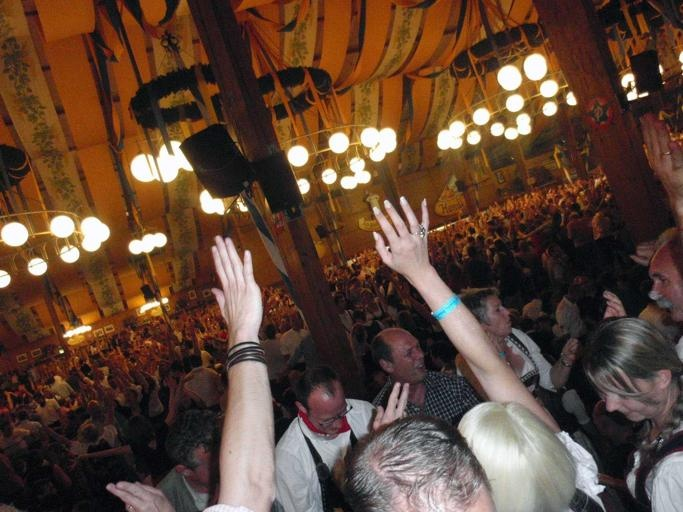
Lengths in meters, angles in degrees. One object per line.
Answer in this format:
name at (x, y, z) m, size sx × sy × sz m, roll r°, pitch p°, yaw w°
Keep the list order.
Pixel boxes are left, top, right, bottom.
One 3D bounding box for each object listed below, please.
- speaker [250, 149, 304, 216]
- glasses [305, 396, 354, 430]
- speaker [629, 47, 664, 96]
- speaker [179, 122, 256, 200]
speaker at (-0.511, -0.589, 3.742) m, size 0.333 × 0.531 × 0.129 m, roll -22°, pitch 2°, yaw 4°
glasses at (-0.082, 1.030, 2.841) m, size 0.184 × 0.134 × 0.250 m, roll -27°, pitch 28°, yaw -18°
speaker at (4.041, -2.421, 6.101) m, size 0.306 × 0.554 × 0.283 m, roll -13°, pitch 7°, yaw 37°
speaker at (-0.970, -0.728, 3.644) m, size 0.416 × 0.608 × 0.173 m, roll -30°, pitch 15°, yaw 3°
